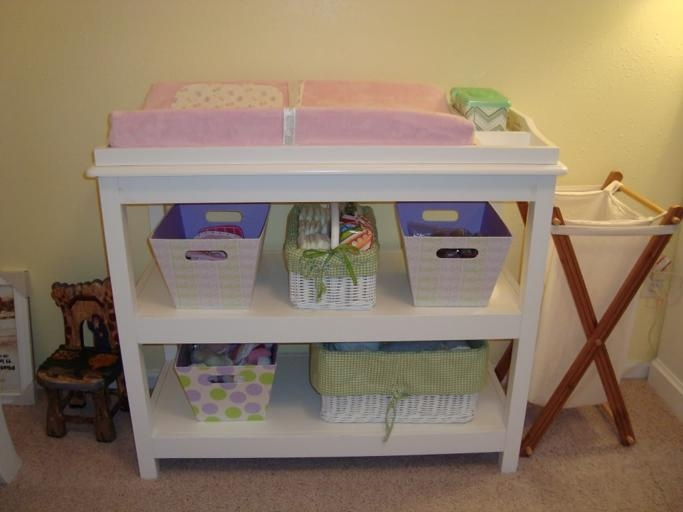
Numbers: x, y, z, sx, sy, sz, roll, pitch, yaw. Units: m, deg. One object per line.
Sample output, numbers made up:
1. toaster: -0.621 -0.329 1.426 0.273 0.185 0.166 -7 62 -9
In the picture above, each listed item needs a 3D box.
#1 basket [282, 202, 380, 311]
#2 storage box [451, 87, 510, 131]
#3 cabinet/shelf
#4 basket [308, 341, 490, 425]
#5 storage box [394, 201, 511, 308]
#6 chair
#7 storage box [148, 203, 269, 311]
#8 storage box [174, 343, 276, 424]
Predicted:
1. basket: -0.036 0.005 2.166 0.333 0.301 0.329 0 26 2
2. storage box: 0.482 -0.495 2.104 0.189 0.103 0.186 -2 15 -26
3. cabinet/shelf: -0.022 0.259 2.173 1.218 0.949 0.424 -1 37 -3
4. basket: 0.208 0.462 2.194 0.496 0.211 0.356 -1 5 -3
5. storage box: 0.397 -0.001 2.273 0.364 0.270 0.438 -1 20 0
6. chair: -1.092 0.438 2.477 0.347 0.582 0.364 6 18 5
7. storage box: -0.478 0.053 2.292 0.370 0.246 0.513 -1 4 -4
8. storage box: -0.438 0.443 2.266 0.349 0.247 0.280 -2 7 -15
